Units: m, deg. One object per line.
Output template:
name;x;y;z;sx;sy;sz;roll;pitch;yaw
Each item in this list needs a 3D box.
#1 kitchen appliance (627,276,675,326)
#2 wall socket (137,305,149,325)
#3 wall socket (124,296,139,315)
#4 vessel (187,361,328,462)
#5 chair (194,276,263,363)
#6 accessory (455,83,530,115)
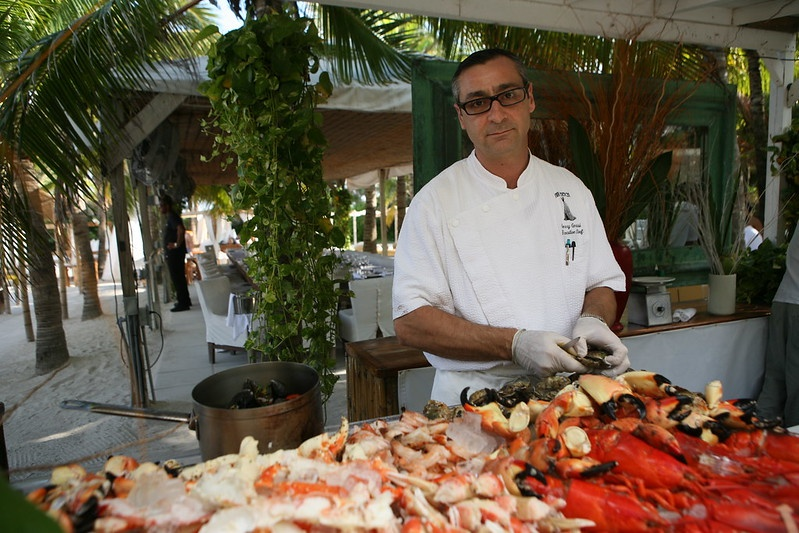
kitchen appliance;1.893;0.193;4.137;0.337;0.376;0.320;-8;7;-26
wall socket;-2.386;0.393;5.098;0.106;0.176;0.106;-3;1;-4
wall socket;-2.477;0.314;5.032;0.124;0.193;0.089;-3;1;-17
vessel;-0.624;0.463;2.382;0.441;0.294;0.419;-8;8;-27
chair;-2.186;0.573;7.099;0.672;1.007;0.735;1;10;19
accessory;0.491;-0.849;2.867;0.357;0.107;0.076;-4;0;7
